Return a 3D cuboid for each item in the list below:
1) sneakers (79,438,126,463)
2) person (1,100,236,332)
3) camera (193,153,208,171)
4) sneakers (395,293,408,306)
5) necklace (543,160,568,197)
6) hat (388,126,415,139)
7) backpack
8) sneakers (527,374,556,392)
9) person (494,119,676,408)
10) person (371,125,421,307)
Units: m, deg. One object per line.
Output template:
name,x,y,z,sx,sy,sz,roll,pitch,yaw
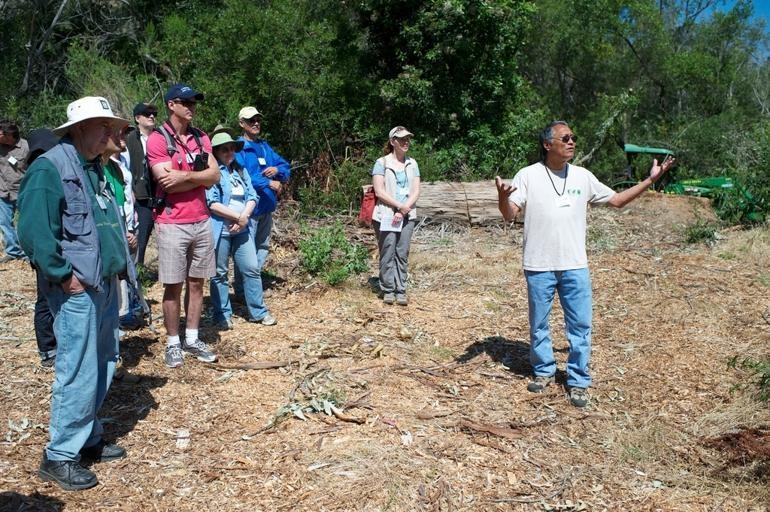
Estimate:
sneakers,-2.754,1.925,6.696,0.382,0.178,0.180,-2,9,-12
person,-2.904,-0.575,6.408,0.565,1.805,0.921,6,13,27
camera,-2.078,-1.071,7.774,0.148,0.213,0.203,0,-8,9
sneakers,0.214,0.636,9.969,0.172,0.160,0.356,0,2,-2
necklace,1.897,-0.861,7.687,0.268,0.346,0.199,2,11,11
hat,0.166,-1.761,9.808,0.220,0.136,0.339,-4,8,-24
backpack,-2.294,-1.136,7.796,0.352,0.679,0.485,-22,17,9
sneakers,1.798,1.487,7.935,0.334,0.143,0.139,2,3,-39
person,1.965,0.304,7.723,1.443,2.627,0.871,3,11,12
person,0.144,-0.585,9.936,0.642,2.554,0.522,0,11,1
